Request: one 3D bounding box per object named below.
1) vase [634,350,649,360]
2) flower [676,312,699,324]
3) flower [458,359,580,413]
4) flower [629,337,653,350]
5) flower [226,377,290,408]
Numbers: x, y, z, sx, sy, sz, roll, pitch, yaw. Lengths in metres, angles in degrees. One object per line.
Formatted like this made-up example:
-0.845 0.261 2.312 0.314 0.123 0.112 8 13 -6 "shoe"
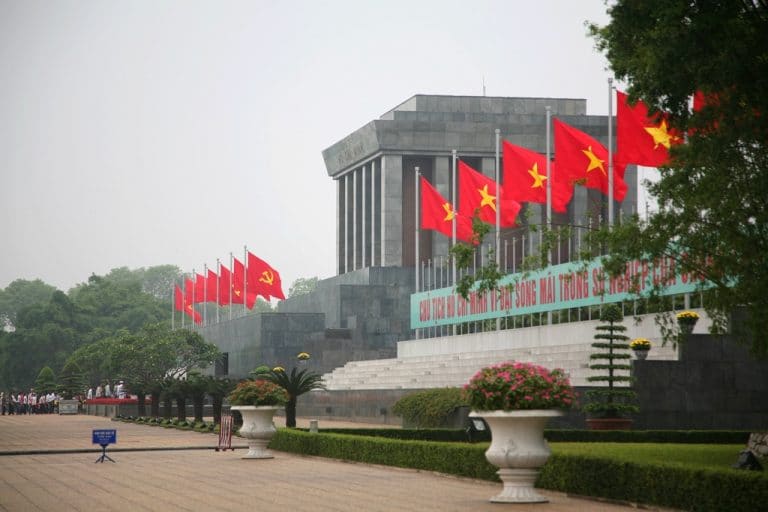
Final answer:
9.834 3.793 36.507 0.441 0.278 0.462 -2 -4 1 "vase"
11.490 2.352 36.149 0.598 0.356 0.607 -3 -5 41 "flower"
3.152 3.089 22.377 2.477 1.177 0.792 -4 -10 5 "flower"
9.856 3.422 36.501 0.576 0.320 0.592 0 -3 32 "flower"
-4.166 4.609 31.773 1.857 0.902 0.640 -3 -10 0 "flower"
